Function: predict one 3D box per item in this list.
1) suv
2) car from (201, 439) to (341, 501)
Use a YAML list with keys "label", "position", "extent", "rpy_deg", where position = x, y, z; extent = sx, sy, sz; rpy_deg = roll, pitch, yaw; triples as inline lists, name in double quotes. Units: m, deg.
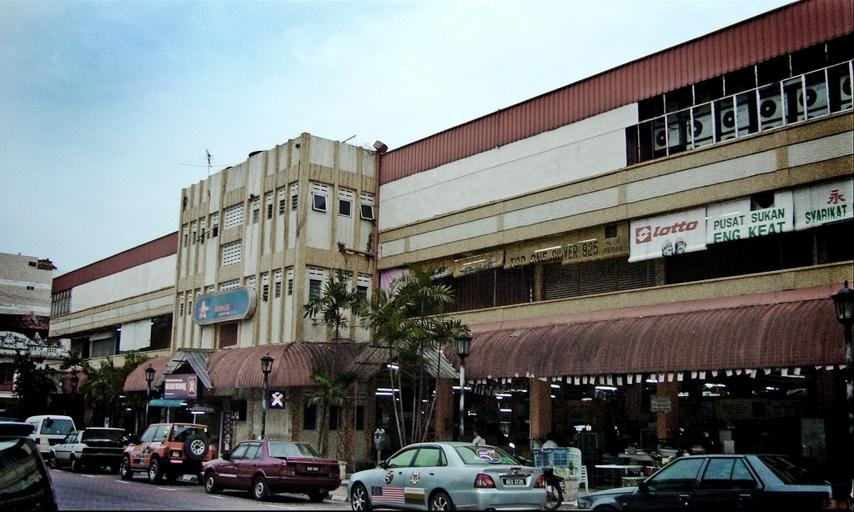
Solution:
- label: "suv"
  position: [-13.075, 9.787, 46.374]
  extent: [2.704, 1.951, 4.446]
  rpy_deg: [11, -16, -39]
- label: "car"
  position: [-7.332, 9.453, 41.519]
  extent: [2.889, 1.634, 5.097]
  rpy_deg: [15, -17, -43]
